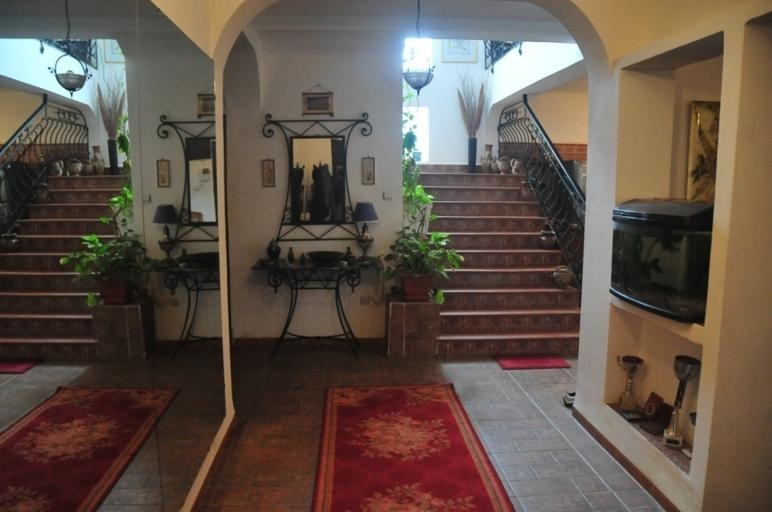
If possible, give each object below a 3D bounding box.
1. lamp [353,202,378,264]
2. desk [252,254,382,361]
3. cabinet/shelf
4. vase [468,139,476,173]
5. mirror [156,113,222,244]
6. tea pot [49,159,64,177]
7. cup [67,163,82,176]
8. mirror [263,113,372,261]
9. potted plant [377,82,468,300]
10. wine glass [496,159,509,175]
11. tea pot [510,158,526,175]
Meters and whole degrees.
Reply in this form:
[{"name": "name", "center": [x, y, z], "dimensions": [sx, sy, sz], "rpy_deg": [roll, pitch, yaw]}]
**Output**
[{"name": "lamp", "center": [-0.218, -0.280, 6.239], "dimensions": [0.263, 0.609, 0.362], "rpy_deg": [0, 13, -1]}, {"name": "desk", "center": [-0.758, 0.491, 6.208], "dimensions": [1.298, 1.085, 0.544], "rpy_deg": [0, 13, -1]}, {"name": "cabinet/shelf", "center": [1.966, 0.046, 3.890], "dimensions": [0.860, 2.942, 1.500], "rpy_deg": [5, 14, 20]}, {"name": "vase", "center": [1.568, -1.815, 10.155], "dimensions": [0.159, 0.602, 0.339], "rpy_deg": [2, 13, 8]}, {"name": "mirror", "center": [-1.221, -0.466, 3.452], "dimensions": [0.514, 0.930, 0.053], "rpy_deg": [0, 4, -12]}, {"name": "tea pot", "center": [-1.340, -0.356, 2.292], "dimensions": [0.059, 0.061, 0.052], "rpy_deg": [1, -1, -14]}, {"name": "cup", "center": [-1.308, -0.359, 2.367], "dimensions": [0.050, 0.050, 0.048], "rpy_deg": [1, 4, 0]}, {"name": "mirror", "center": [-0.760, -0.768, 6.428], "dimensions": [1.042, 1.538, 0.111], "rpy_deg": [3, 8, -3]}, {"name": "potted plant", "center": [0.429, -0.533, 6.548], "dimensions": [0.851, 2.120, 1.689], "rpy_deg": [1, 13, 4]}, {"name": "wine glass", "center": [1.937, -1.463, 9.230], "dimensions": [0.209, 0.228, 0.213], "rpy_deg": [-7, 11, -40]}, {"name": "tea pot", "center": [2.145, -1.426, 9.091], "dimensions": [0.202, 0.229, 0.600], "rpy_deg": [2, 13, 10]}]
